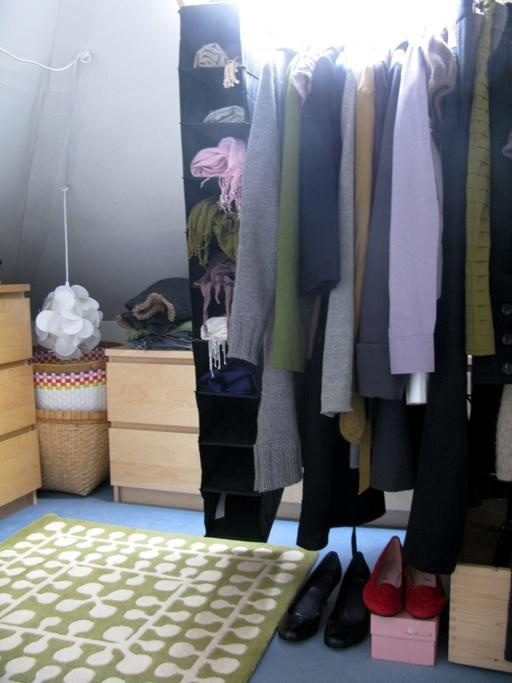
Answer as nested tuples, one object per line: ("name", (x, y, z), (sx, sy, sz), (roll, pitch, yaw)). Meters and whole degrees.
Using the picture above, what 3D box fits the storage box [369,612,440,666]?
("storage box", (0.361, 0.721, 1.345), (0.133, 0.079, 0.128), (0, -2, 20))

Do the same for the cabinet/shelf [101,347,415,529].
("cabinet/shelf", (-0.147, 0.396, 2.344), (1.104, 0.620, 0.358), (2, 3, 29))

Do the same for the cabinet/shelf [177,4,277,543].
("cabinet/shelf", (-0.071, -0.164, 1.610), (0.257, 1.484, 0.365), (-1, 4, 10))
